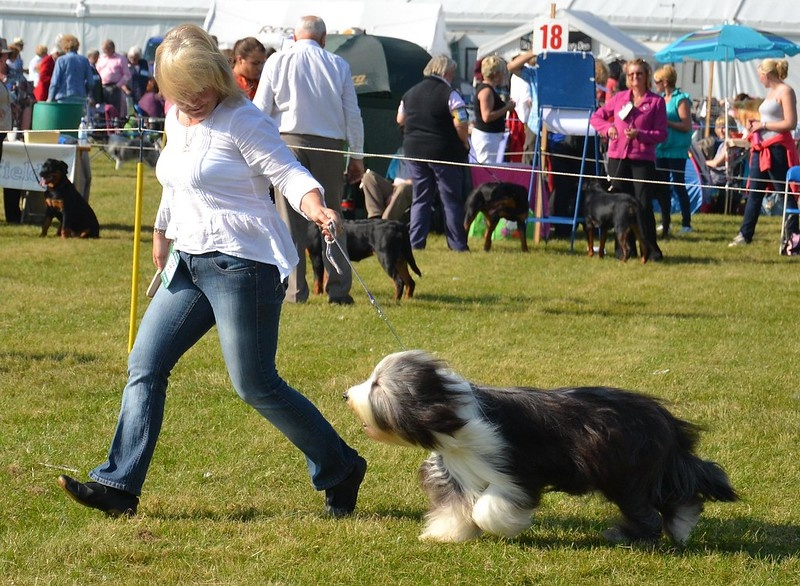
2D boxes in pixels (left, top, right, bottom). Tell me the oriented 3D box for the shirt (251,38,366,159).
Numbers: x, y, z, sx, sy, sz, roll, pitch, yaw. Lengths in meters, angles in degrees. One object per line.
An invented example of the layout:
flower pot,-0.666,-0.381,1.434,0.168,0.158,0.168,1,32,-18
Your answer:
shirt,-0.955,-2.033,14.721,1.117,1.252,0.673,0,8,2

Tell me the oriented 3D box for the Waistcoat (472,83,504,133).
Waistcoat,1.166,-2.492,18.982,0.367,0.720,0.510,-13,25,-20

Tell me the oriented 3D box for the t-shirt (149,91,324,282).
t-shirt,-1.280,-0.903,11.371,1.604,1.308,0.720,7,8,36

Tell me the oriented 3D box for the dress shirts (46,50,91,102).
dress shirts,-5.276,-3.454,22.817,0.650,0.890,0.445,2,-16,-29

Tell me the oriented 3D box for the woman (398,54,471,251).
woman,0.420,-1.828,18.046,0.868,2.536,0.791,4,7,23

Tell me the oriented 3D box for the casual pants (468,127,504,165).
casual pants,1.228,-2.089,19.473,0.276,0.550,0.379,18,26,8

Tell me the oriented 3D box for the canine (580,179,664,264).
canine,2.692,-0.923,17.812,0.476,0.963,0.945,-2,7,-37

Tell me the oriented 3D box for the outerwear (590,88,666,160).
outerwear,2.916,-2.168,18.041,0.878,1.018,0.543,6,4,22

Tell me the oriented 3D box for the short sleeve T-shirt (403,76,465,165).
short sleeve T-shirt,0.411,-2.137,17.642,0.763,0.963,0.503,16,31,35

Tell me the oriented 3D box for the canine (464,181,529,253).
canine,1.235,-1.016,18.343,0.841,0.898,0.442,4,6,7
